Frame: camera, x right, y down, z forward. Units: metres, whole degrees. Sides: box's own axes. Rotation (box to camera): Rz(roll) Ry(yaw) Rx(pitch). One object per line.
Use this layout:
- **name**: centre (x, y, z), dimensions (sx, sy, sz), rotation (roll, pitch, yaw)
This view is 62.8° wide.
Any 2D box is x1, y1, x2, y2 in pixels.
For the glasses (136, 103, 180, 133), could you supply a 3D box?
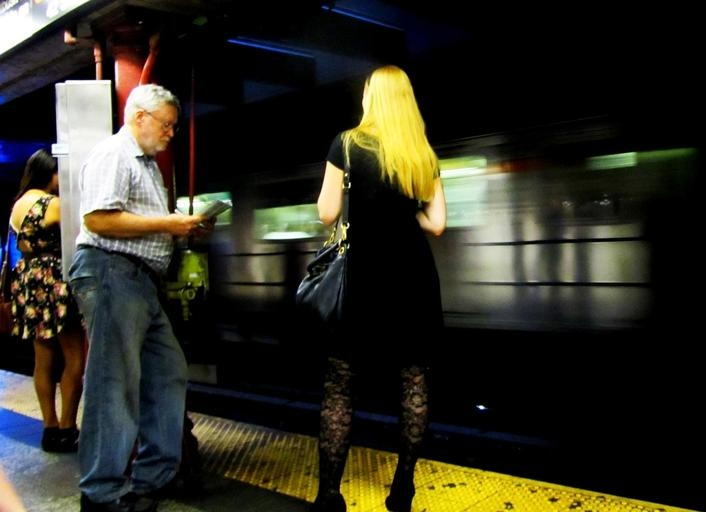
- **glasses**: centre (-1.141, -0.817, 3.450), dimensions (0.177, 0.095, 0.141), rotation (11, 8, 30)

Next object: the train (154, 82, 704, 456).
- **train**: centre (0.498, -0.022, 5.772), dimensions (5.213, 2.590, 1.759), rotation (5, 9, 41)
